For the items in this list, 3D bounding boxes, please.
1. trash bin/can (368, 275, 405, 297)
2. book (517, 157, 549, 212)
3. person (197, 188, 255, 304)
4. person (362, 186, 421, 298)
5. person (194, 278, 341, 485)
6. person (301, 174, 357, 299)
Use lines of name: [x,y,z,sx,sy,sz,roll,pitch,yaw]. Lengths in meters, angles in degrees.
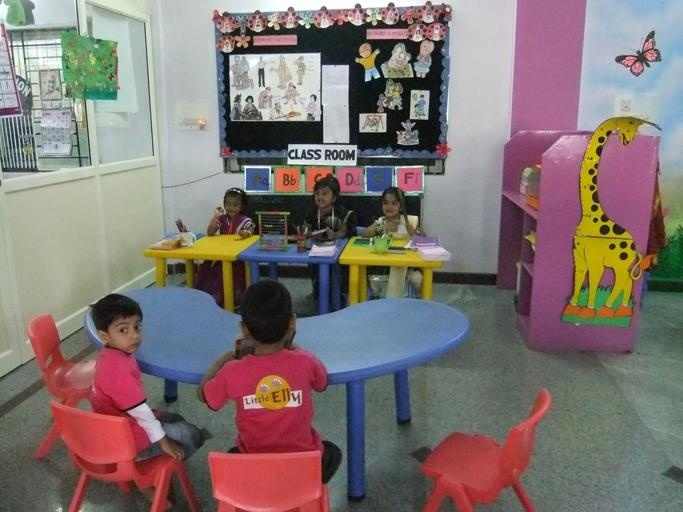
trash bin/can: [0.351,0.219,4.192,0.207,0.102,0.167,2,15,15]
book: [1.572,-0.601,4.570,0.200,0.478,0.358,3,17,6]
person: [-0.952,-0.112,4.586,0.413,1.019,0.503,5,17,6]
person: [0.419,-0.189,4.239,0.402,0.868,0.460,6,16,9]
person: [-0.281,0.492,2.227,0.517,0.801,0.440,-9,20,-31]
person: [-0.124,-0.169,4.484,0.374,0.888,0.406,1,6,8]
